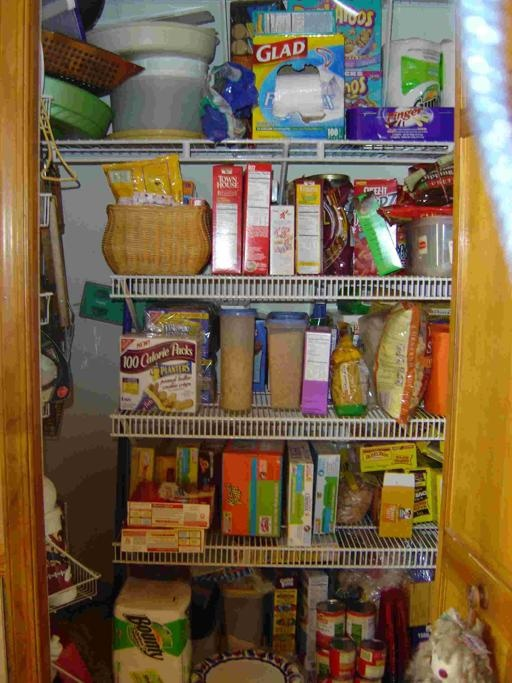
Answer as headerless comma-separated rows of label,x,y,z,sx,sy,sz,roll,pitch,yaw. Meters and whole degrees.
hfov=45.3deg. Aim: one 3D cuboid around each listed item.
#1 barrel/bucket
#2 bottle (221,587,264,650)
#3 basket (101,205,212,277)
barrel/bucket,-0.264,-0.657,1.662,0.221,0.164,0.215,0,7,0
bottle,-0.025,0.816,1.833,0.127,0.224,0.131,-3,-7,0
basket,-0.253,-0.253,1.450,0.246,0.161,0.186,0,6,-1
